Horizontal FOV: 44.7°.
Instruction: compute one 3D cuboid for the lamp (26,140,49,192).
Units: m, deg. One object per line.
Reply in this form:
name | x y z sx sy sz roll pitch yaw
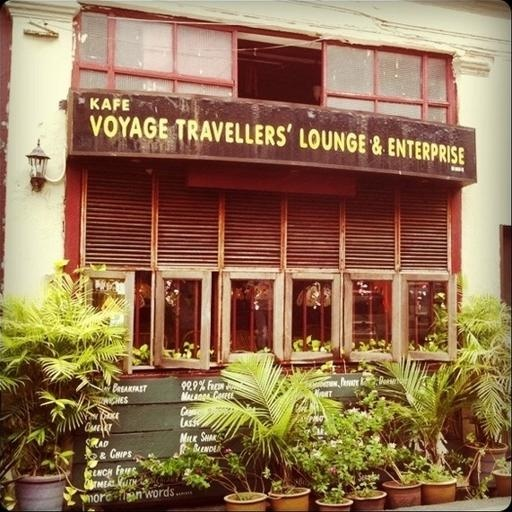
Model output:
lamp | -2.327 -0.993 6.660 0.231 0.578 0.193 3 -7 -24
